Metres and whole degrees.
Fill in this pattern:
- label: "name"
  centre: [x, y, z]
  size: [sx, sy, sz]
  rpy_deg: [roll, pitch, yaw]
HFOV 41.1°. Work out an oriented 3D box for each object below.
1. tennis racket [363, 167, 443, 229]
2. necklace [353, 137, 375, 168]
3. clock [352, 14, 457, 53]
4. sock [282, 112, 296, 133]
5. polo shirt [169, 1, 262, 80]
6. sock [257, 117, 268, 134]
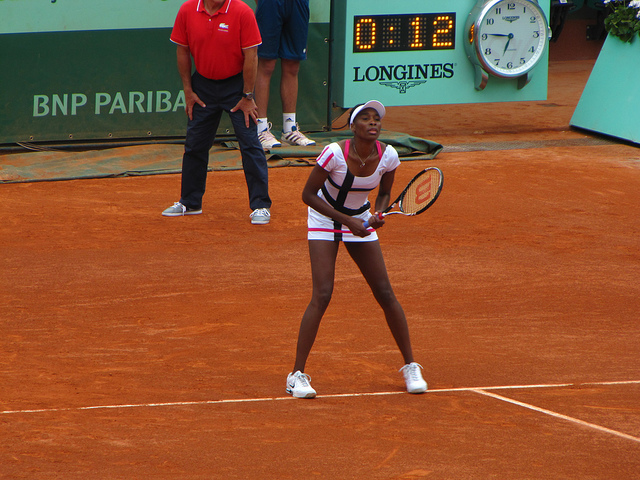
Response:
- label: "tennis racket"
  centre: [0.660, -0.239, 6.305]
  size: [0.040, 0.753, 0.306]
  rpy_deg: [26, 32, -44]
- label: "necklace"
  centre: [0.301, -0.621, 6.049]
  size: [0.175, 0.330, 0.026]
  rpy_deg: [9, -24, -15]
- label: "clock"
  centre: [1.282, -3.153, 12.998]
  size: [1.578, 0.567, 0.023]
  rpy_deg: [0, -2, 5]
- label: "sock"
  centre: [-0.471, -1.733, 12.649]
  size: [0.162, 0.303, 0.151]
  rpy_deg: [1, 15, -4]
- label: "polo shirt"
  centre: [-1.149, -2.186, 9.361]
  size: [0.974, 0.844, 0.255]
  rpy_deg: [7, 15, 17]
- label: "sock"
  centre: [-0.862, -1.653, 12.333]
  size: [0.193, 0.246, 0.239]
  rpy_deg: [-3, 3, -20]
